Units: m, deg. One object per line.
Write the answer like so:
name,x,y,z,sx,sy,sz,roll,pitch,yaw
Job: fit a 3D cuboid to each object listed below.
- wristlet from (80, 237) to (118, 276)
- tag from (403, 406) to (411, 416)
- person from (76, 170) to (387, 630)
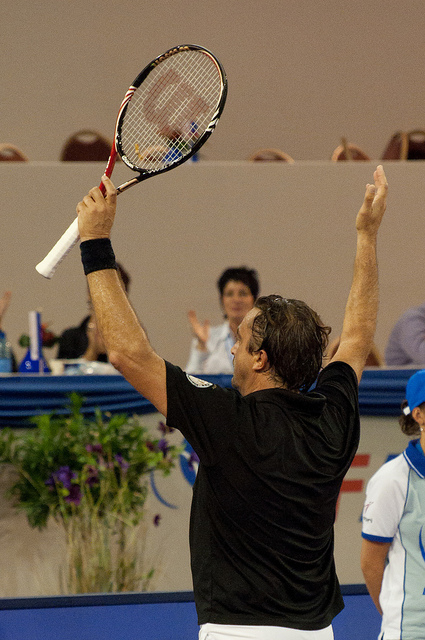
wristlet,-0.376,-0.200,3.947,0.115,0.121,0.129,-4,-3,-7
tag,0.727,0.354,4.605,0.006,0.027,0.026,3,26,39
person,0.158,0.265,4.043,1.089,1.538,0.393,-2,-3,-34
